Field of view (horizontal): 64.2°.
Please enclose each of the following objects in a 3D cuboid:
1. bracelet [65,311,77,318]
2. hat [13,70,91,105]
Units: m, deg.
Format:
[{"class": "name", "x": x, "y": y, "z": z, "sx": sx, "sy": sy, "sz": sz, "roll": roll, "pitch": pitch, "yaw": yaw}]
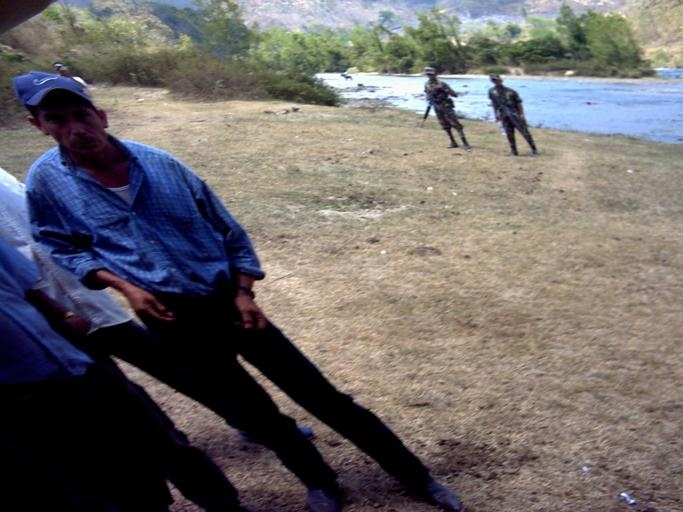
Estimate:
[{"class": "bracelet", "x": -1.157, "y": 0.250, "z": 2.317, "sx": 0.037, "sy": 0.015, "sz": 0.033, "roll": -6, "pitch": -9, "yaw": 37}, {"class": "hat", "x": -1.317, "y": -0.749, "z": 2.428, "sx": 0.301, "sy": 0.170, "sz": 0.241, "roll": -14, "pitch": 18, "yaw": -12}]
